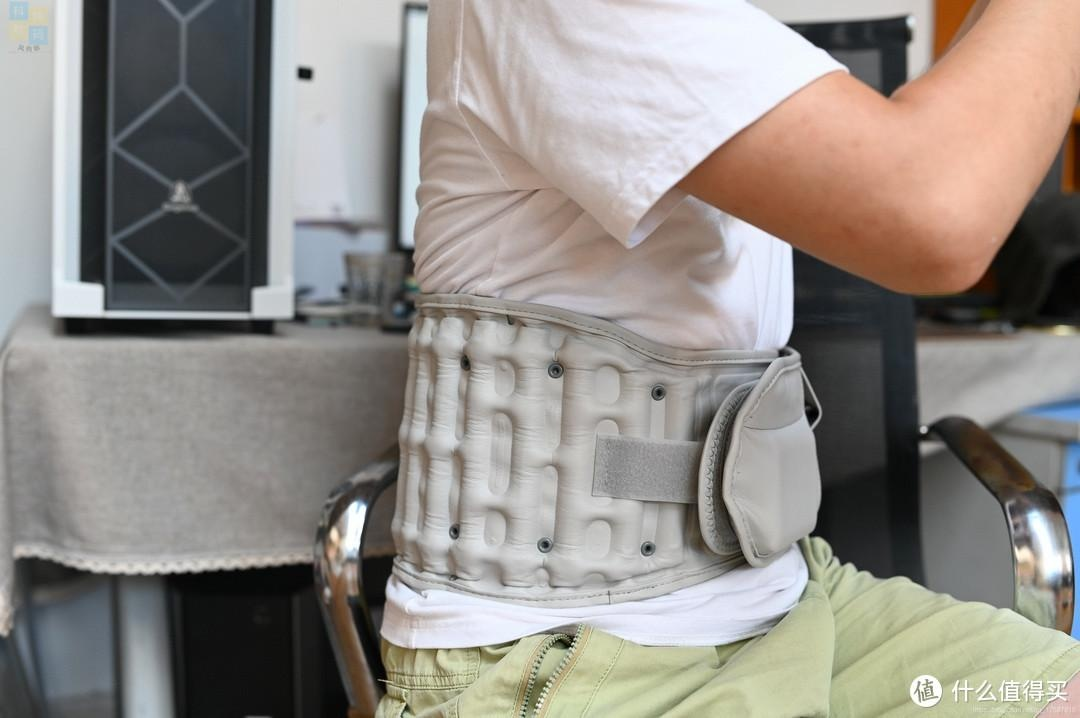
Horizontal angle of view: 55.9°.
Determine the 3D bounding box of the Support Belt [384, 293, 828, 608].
[{"bbox_3d":[0.085,0.129,1.221,0.368,0.397,0.264,1,91,11],"label":"Support Belt"}]
